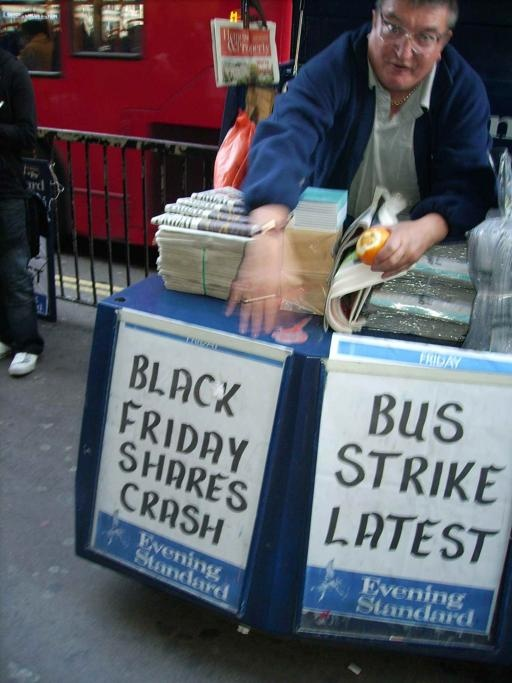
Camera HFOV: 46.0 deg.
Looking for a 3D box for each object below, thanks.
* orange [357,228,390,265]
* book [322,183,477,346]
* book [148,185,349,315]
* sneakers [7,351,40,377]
[{"bbox_3d":[0.291,-0.214,1.457,0.074,0.062,0.091,-18,53,40],"label":"orange"},{"bbox_3d":[0.366,-0.181,1.548,0.361,0.285,0.316,6,27,5],"label":"book"},{"bbox_3d":[-0.005,-0.234,1.594,0.380,0.375,0.145,4,-16,12],"label":"book"},{"bbox_3d":[-1.426,0.139,3.684,0.078,0.103,0.241,4,20,-3],"label":"sneakers"}]
